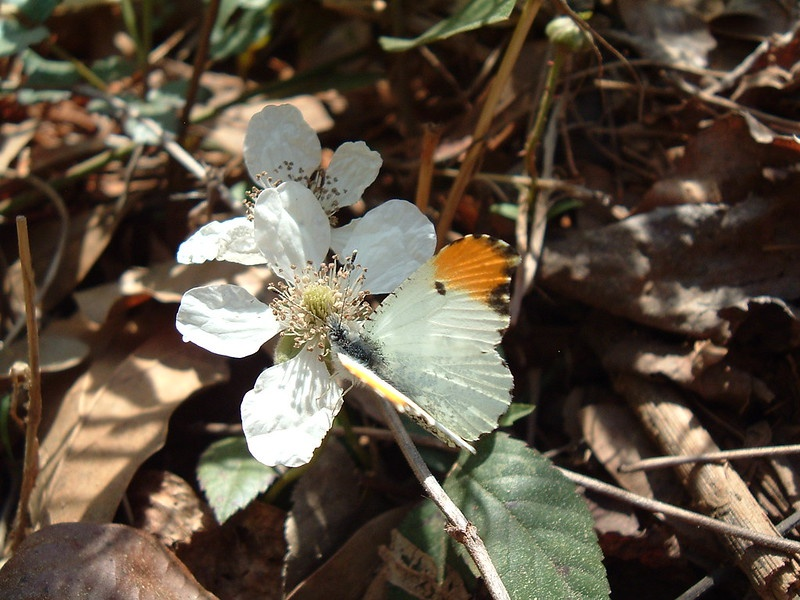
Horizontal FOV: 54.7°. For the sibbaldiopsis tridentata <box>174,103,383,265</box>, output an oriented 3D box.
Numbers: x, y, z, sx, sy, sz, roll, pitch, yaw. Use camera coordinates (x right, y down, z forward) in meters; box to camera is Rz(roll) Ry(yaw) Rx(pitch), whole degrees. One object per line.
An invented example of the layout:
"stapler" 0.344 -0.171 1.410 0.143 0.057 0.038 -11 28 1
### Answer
"sibbaldiopsis tridentata" -0.323 -0.269 2.120 0.425 0.201 0.630 20 44 15
